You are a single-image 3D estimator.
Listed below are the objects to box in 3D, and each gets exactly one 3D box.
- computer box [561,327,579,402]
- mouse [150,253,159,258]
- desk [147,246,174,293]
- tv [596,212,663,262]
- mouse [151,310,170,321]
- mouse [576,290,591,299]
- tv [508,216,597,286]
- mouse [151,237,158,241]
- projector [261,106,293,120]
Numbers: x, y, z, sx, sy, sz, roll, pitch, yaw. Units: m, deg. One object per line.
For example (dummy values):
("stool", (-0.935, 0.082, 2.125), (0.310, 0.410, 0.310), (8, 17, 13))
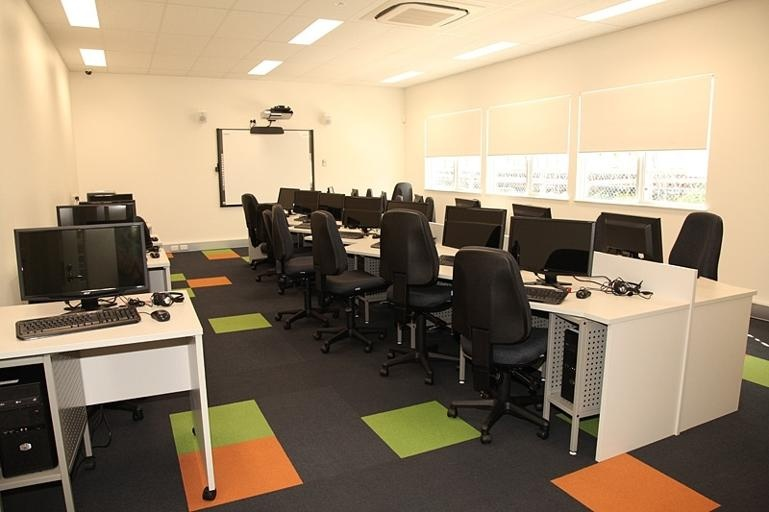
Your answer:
("computer box", (1.445, 0.848, 4.122), (0.117, 0.563, 0.135), (3, 12, 25))
("mouse", (-2.402, -0.009, 5.548), (0.056, 0.031, 0.074), (-1, 5, -9))
("desk", (-2.361, 0.152, 5.577), (0.233, 0.519, 0.552), (-4, 12, -21))
("tv", (2.314, -0.166, 5.023), (0.169, 0.355, 0.474), (-18, 20, -26))
("mouse", (-1.595, 0.424, 3.800), (0.161, 0.057, 0.099), (7, 14, 44))
("mouse", (1.606, 0.304, 4.271), (0.058, 0.048, 0.113), (-3, 5, 44))
("tv", (1.444, -0.038, 4.549), (0.572, 0.417, 0.142), (4, 13, 39))
("mouse", (-2.853, -0.218, 6.597), (0.070, 0.026, 0.317), (-6, 11, -23))
("projector", (-2.027, -2.707, 10.122), (0.397, 0.177, 0.348), (-5, 13, -29))
